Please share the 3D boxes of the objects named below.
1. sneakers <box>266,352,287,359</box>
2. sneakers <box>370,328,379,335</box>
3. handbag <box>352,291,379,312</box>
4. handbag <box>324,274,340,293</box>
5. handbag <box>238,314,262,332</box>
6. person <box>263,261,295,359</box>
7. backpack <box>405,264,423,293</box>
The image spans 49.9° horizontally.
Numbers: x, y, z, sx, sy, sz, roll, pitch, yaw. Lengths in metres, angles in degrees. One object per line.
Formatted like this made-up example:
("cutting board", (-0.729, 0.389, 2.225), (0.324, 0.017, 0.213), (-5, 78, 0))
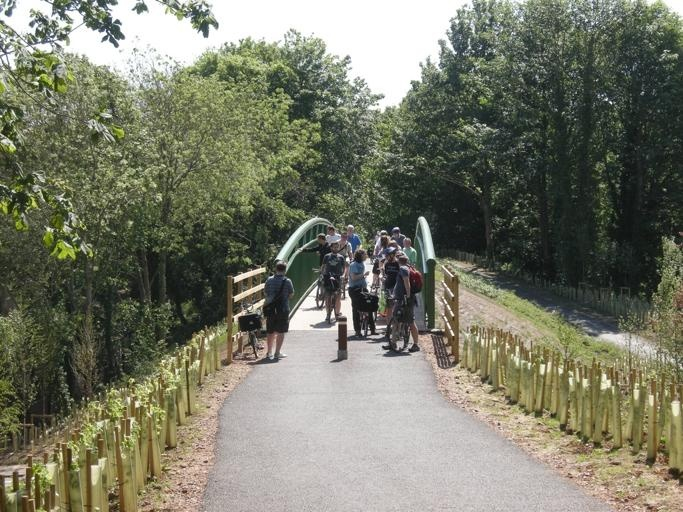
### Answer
("sneakers", (-1.396, 2.112, 15.763), (0.423, 0.218, 0.171), (0, 0, -8))
("sneakers", (0.829, 1.906, 18.258), (0.235, 0.216, 0.091), (-5, -12, 9))
("handbag", (0.566, 1.081, 17.163), (0.507, 0.605, 0.407), (0, 14, -7))
("handbag", (-0.248, 0.703, 18.396), (0.375, 0.352, 0.303), (16, -17, -39))
("handbag", (-1.953, 1.408, 15.584), (0.524, 0.366, 0.409), (0, -13, -4))
("person", (-1.339, 1.172, 15.493), (0.596, 2.113, 0.589), (0, 6, -6))
("backpack", (1.622, 0.508, 16.115), (0.384, 0.954, 0.666), (-1, 5, 0))
